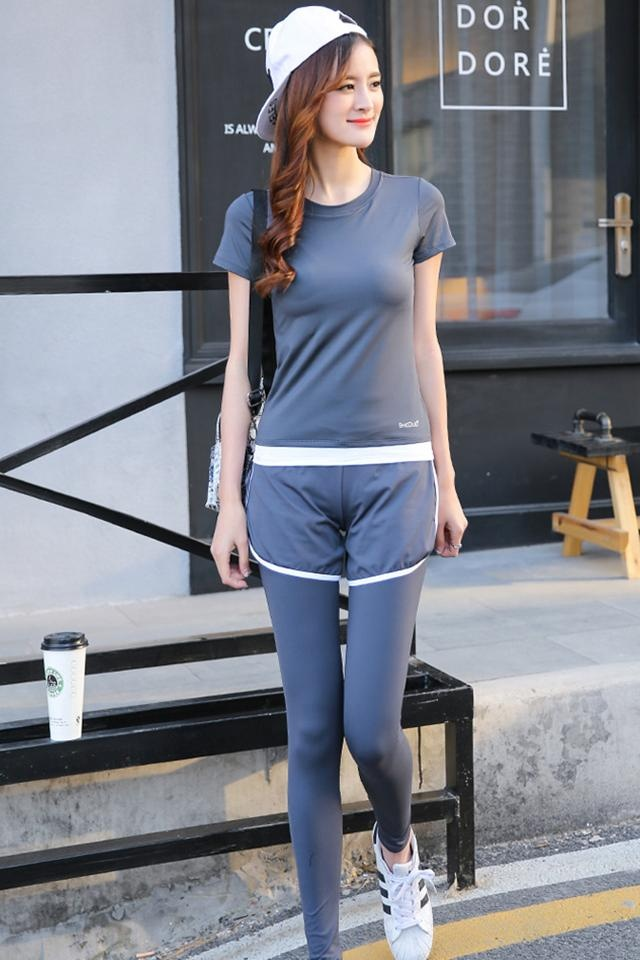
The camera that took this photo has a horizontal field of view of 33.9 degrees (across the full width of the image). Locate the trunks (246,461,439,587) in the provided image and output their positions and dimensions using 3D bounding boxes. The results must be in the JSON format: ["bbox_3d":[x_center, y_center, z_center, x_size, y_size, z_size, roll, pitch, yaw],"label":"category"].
[{"bbox_3d":[0.041,0.072,1.755,0.340,0.222,0.200,-2,-4,2],"label":"trunks"}]

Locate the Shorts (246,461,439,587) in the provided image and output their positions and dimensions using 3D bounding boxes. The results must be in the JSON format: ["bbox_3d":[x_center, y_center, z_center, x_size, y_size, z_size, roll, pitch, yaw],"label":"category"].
[{"bbox_3d":[0.040,0.070,1.756,0.340,0.222,0.200,-2,-4,2],"label":"Shorts"}]

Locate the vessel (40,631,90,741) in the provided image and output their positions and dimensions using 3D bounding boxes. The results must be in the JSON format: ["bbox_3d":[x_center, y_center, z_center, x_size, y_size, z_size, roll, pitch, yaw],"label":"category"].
[{"bbox_3d":[-0.513,0.416,2.131,0.084,0.204,0.139,-4,7,-15],"label":"vessel"}]

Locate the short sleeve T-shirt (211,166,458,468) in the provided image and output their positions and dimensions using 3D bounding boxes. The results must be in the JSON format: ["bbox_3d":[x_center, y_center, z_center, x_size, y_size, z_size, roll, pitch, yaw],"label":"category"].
[{"bbox_3d":[0.063,-0.276,1.782,0.354,0.496,0.186,-3,6,-5],"label":"short sleeve T-shirt"}]
